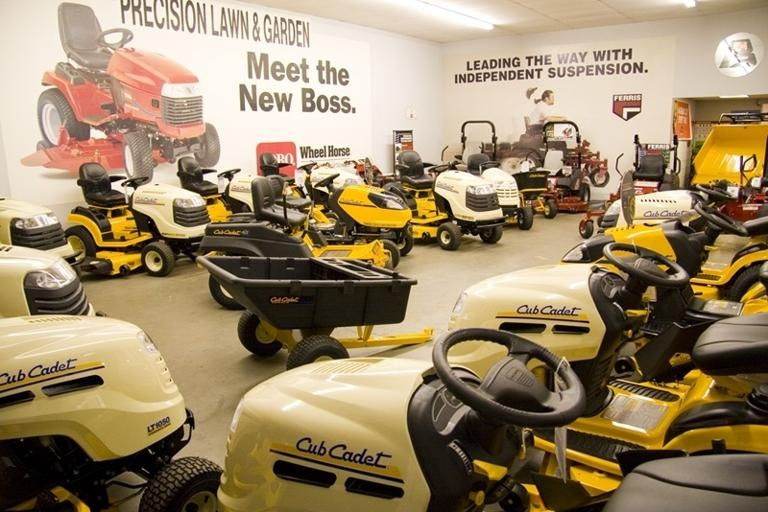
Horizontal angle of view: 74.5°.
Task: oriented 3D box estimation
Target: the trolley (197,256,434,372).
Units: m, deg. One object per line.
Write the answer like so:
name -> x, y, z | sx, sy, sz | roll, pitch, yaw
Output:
trolley -> -0.499, 0.308, 3.483 | 1.354, 0.586, 0.839 | -5, 11, -31

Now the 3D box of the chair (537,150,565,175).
chair -> 3.566, -1.986, 10.609 | 0.521, 0.710, 0.607 | 5, -5, 14

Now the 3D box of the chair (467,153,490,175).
chair -> 1.786, -1.670, 9.126 | 0.461, 0.410, 0.390 | -4, 27, -12

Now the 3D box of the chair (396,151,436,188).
chair -> 0.619, -1.426, 8.436 | 0.656, 0.705, 0.645 | -11, 16, -35

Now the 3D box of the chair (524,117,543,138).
chair -> 3.683, -3.167, 12.433 | 0.425, 0.578, 0.485 | -7, 11, -30

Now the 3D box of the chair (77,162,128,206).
chair -> -3.712, -0.952, 6.719 | 0.643, 0.585, 0.528 | 4, 14, 22
